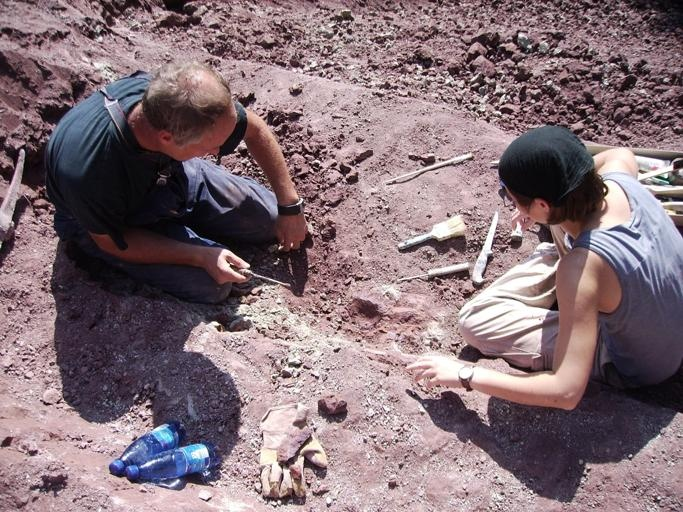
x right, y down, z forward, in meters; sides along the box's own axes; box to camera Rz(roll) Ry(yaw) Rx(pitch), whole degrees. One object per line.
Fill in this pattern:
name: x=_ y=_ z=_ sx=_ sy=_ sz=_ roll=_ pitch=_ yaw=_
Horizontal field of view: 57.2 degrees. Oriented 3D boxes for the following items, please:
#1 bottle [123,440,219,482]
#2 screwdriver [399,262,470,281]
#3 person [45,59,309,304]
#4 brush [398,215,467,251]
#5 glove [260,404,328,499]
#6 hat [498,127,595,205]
bottle: x=-1.049 y=1.298 z=3.897 sx=0.612 sy=0.286 sz=0.292 roll=-4 pitch=46 yaw=-2
screwdriver: x=0.740 y=0.125 z=4.844 sx=0.374 sy=0.054 sz=0.055 roll=-12 pitch=11 yaw=6
person: x=-1.193 y=-0.531 z=4.468 sx=1.770 sy=1.627 sz=1.043 roll=1 pitch=51 yaw=-5
brush: x=0.707 y=-0.170 z=4.950 sx=0.553 sy=0.129 sz=0.173 roll=-16 pitch=44 yaw=5
glove: x=-0.313 y=1.245 z=4.042 sx=0.437 sy=0.218 sz=0.553 roll=-1 pitch=53 yaw=-7
hat: x=1.215 y=-0.539 z=3.725 sx=0.455 sy=0.333 sz=0.331 roll=36 pitch=57 yaw=21
